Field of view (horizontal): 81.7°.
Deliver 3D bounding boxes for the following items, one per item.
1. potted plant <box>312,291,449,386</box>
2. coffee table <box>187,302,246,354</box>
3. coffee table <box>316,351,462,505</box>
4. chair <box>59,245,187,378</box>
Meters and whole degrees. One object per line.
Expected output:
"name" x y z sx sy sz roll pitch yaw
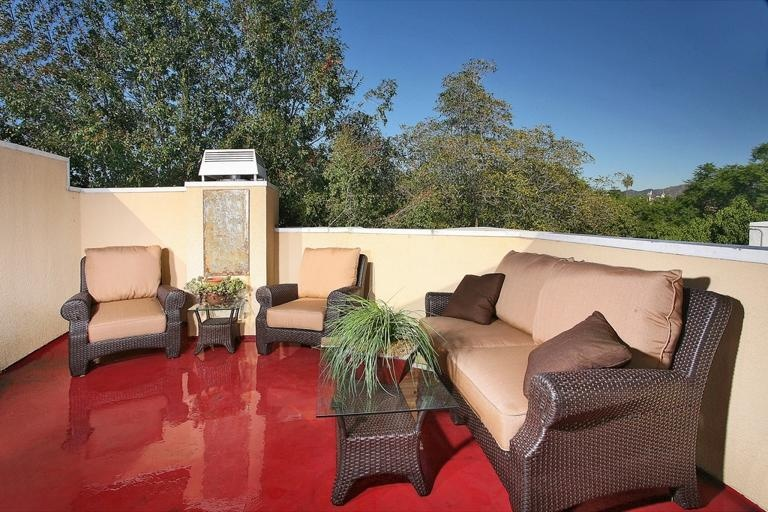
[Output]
"potted plant" -0.146 0.661 3.772 0.774 0.502 0.772 2 -1 -13
"coffee table" -2.122 0.878 5.687 0.547 0.588 0.767 1 6 -15
"coffee table" -0.044 1.327 3.720 0.914 0.667 1.087 -1 -1 -10
"chair" -3.099 0.582 5.251 1.130 1.358 1.022 -3 8 -36
